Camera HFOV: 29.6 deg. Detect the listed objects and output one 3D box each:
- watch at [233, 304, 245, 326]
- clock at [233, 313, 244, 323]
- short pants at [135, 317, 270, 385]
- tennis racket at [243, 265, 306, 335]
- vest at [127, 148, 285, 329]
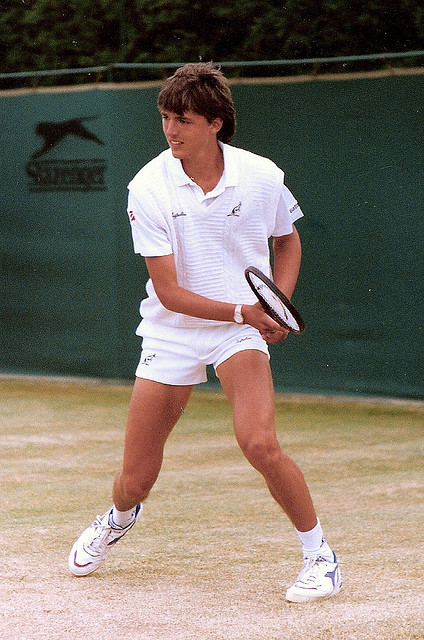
[{"bbox_3d":[0.073,-0.015,2.209,0.029,0.054,0.039,-1,11,1],"label":"watch"},{"bbox_3d":[0.074,-0.004,2.201,0.020,0.026,0.025,-1,44,17],"label":"clock"},{"bbox_3d":[-0.033,0.098,2.371,0.207,0.149,0.340,4,-10,-42],"label":"short pants"},{"bbox_3d":[0.172,-0.040,2.224,0.022,0.216,0.242,-37,-29,18],"label":"tennis racket"},{"bbox_3d":[-0.009,-0.270,2.364,0.433,0.460,0.256,-1,11,3],"label":"vest"}]
